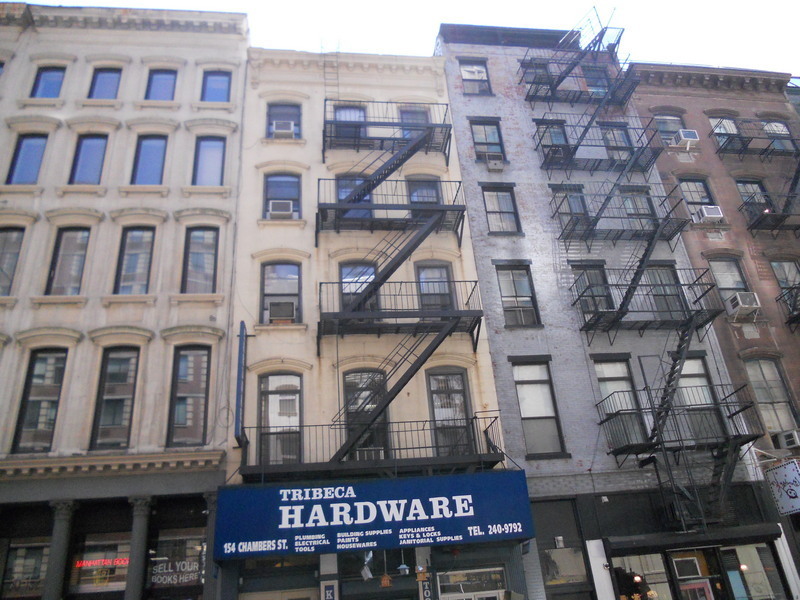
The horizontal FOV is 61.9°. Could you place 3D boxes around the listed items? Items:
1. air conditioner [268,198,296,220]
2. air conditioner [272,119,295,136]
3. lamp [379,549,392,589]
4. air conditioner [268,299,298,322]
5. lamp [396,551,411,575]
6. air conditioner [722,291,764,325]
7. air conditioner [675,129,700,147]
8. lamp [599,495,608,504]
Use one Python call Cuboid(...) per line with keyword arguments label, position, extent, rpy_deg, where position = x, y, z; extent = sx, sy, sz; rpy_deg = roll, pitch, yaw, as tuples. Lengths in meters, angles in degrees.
Cuboid(label="air conditioner", position=(-3.994, -3.025, 22.957), extent=(1.339, 0.784, 0.627), rpy_deg=(0, -35, -7))
Cuboid(label="air conditioner", position=(-4.269, -6.306, 24.388), extent=(0.873, 0.603, 0.412), rpy_deg=(0, -34, -5))
Cuboid(label="lamp", position=(-0.405, 7.666, 19.061), extent=(0.385, 1.014, 0.190), rpy_deg=(-3, -34, -2))
Cuboid(label="air conditioner", position=(-3.794, 0.438, 21.911), extent=(1.289, 0.890, 0.611), rpy_deg=(1, -32, -8))
Cuboid(label="lamp", position=(0.117, 7.536, 19.195), extent=(0.350, 0.716, 0.142), rpy_deg=(-4, -34, -1))
Cuboid(label="air conditioner", position=(12.229, 0.137, 23.684), extent=(1.151, 1.220, 0.656), rpy_deg=(-2, -33, -4))
Cuboid(label="air conditioner", position=(11.599, -6.528, 26.856), extent=(0.966, 0.559, 0.459), rpy_deg=(3, -29, -5))
Cuboid(label="lamp", position=(6.355, 6.150, 20.624), extent=(0.250, 0.191, 0.052), rpy_deg=(3, -17, 3))
